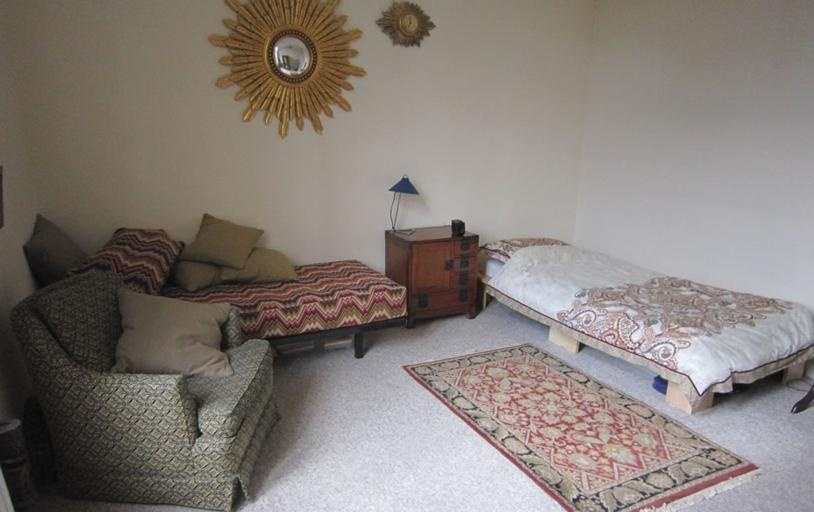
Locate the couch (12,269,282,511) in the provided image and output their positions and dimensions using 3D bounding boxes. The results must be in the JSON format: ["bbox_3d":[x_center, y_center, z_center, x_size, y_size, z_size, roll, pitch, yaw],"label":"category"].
[{"bbox_3d":[-1.817,0.855,3.958,1.819,1.514,1.356,2,25,-5],"label":"couch"}]

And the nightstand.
[{"bbox_3d":[0.239,0.196,5.756,0.891,0.849,0.643,-4,14,-28],"label":"nightstand"}]

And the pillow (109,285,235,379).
[{"bbox_3d":[-1.653,0.561,3.769,0.722,0.205,0.668,9,52,-29],"label":"pillow"}]

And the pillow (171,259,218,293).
[{"bbox_3d":[-1.861,0.162,4.727,0.313,0.126,0.293,-8,43,-30],"label":"pillow"}]
